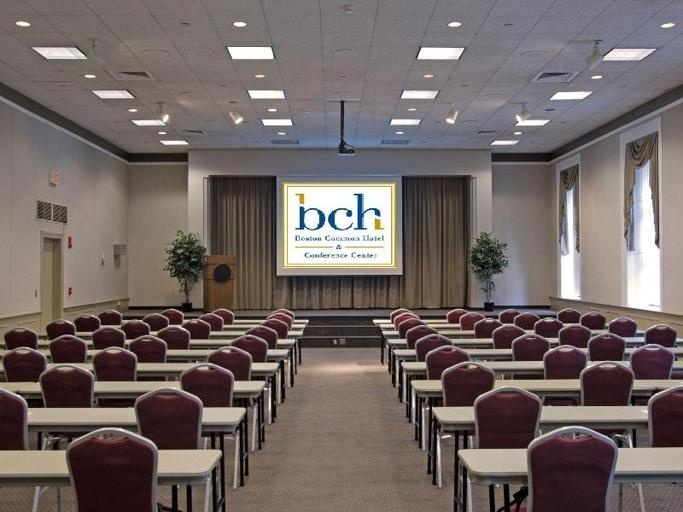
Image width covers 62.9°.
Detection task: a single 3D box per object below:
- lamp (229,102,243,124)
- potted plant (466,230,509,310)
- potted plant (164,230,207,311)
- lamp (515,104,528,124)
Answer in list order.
[{"bbox_3d":[-2.268,-3.108,11.960,0.197,0.462,0.207,-22,-33,-8],"label":"lamp"},{"bbox_3d":[4.283,0.408,15.975,0.913,2.220,1.580,2,4,39],"label":"potted plant"},{"bbox_3d":[-4.292,0.362,15.477,1.015,2.157,0.836,-1,4,-3],"label":"potted plant"},{"bbox_3d":[3.760,-3.040,11.855,0.236,0.441,0.828,4,18,14],"label":"lamp"}]
